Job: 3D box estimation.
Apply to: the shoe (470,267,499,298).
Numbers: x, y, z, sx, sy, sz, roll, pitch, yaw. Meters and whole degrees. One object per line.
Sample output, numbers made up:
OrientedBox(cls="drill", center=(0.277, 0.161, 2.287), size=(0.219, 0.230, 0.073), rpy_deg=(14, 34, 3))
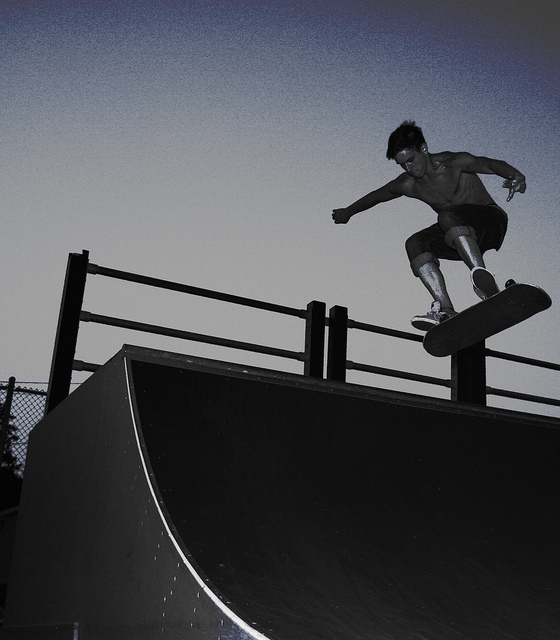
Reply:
OrientedBox(cls="shoe", center=(0.909, -0.167, 3.360), size=(0.072, 0.188, 0.068), rpy_deg=(-30, 17, 5))

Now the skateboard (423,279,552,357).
OrientedBox(cls="skateboard", center=(1.130, -0.012, 4.213), size=(0.186, 0.265, 0.637), rpy_deg=(34, -52, -18))
